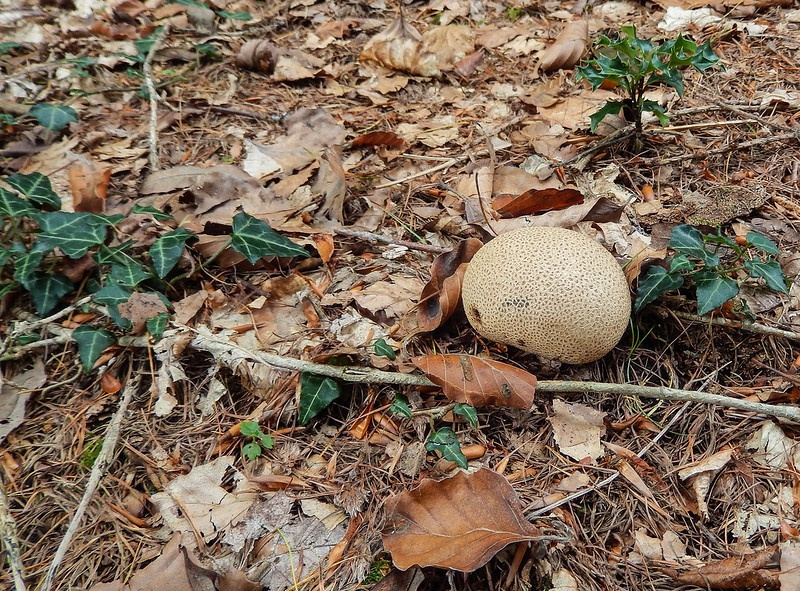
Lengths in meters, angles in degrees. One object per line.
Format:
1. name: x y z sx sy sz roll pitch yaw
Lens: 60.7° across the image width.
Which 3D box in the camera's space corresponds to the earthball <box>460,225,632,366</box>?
1. earthball: 0.897 0.035 3.803 0.922 0.902 0.493 -5 81 43
